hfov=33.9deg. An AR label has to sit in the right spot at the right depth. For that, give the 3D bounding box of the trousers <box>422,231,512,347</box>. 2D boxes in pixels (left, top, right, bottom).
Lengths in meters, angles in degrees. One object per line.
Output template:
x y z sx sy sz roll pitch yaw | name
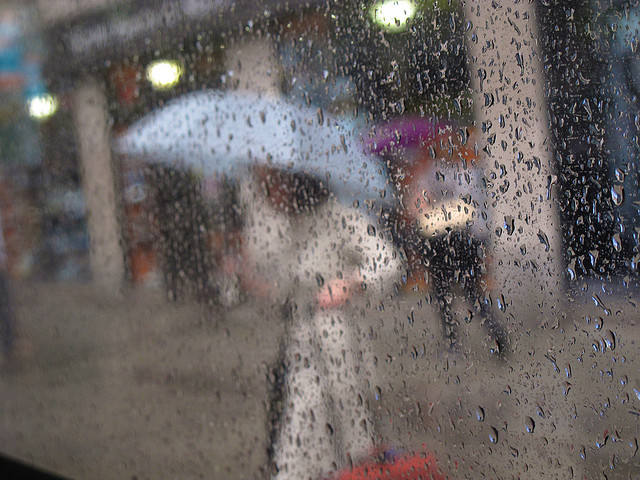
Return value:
0.292 0.105 2.109 0.140 0.037 0.257 -14 85 0 | trousers

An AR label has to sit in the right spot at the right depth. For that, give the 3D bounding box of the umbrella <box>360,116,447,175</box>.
0.166 -0.205 2.131 0.166 0.041 0.111 18 85 3 | umbrella
